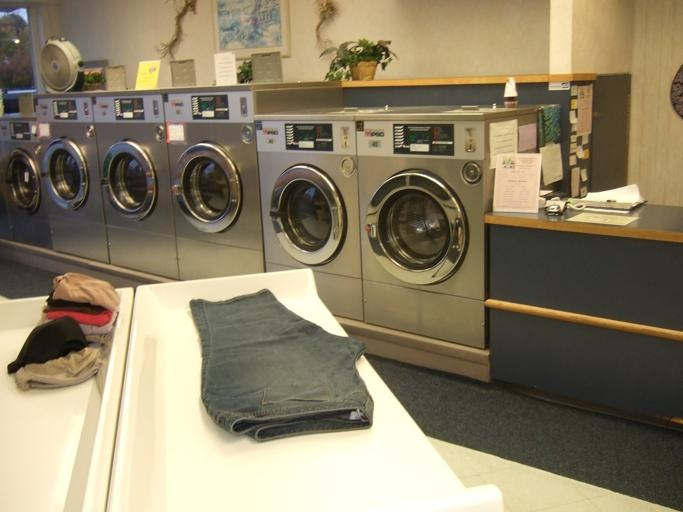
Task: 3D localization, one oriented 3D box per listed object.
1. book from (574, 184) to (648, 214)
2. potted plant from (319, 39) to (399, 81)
[{"bbox_3d":[1.389,-0.295,2.744,0.236,0.086,0.237,-16,16,-33],"label":"book"},{"bbox_3d":[0.180,-1.567,4.178,0.528,0.349,0.753,-1,14,7],"label":"potted plant"}]
